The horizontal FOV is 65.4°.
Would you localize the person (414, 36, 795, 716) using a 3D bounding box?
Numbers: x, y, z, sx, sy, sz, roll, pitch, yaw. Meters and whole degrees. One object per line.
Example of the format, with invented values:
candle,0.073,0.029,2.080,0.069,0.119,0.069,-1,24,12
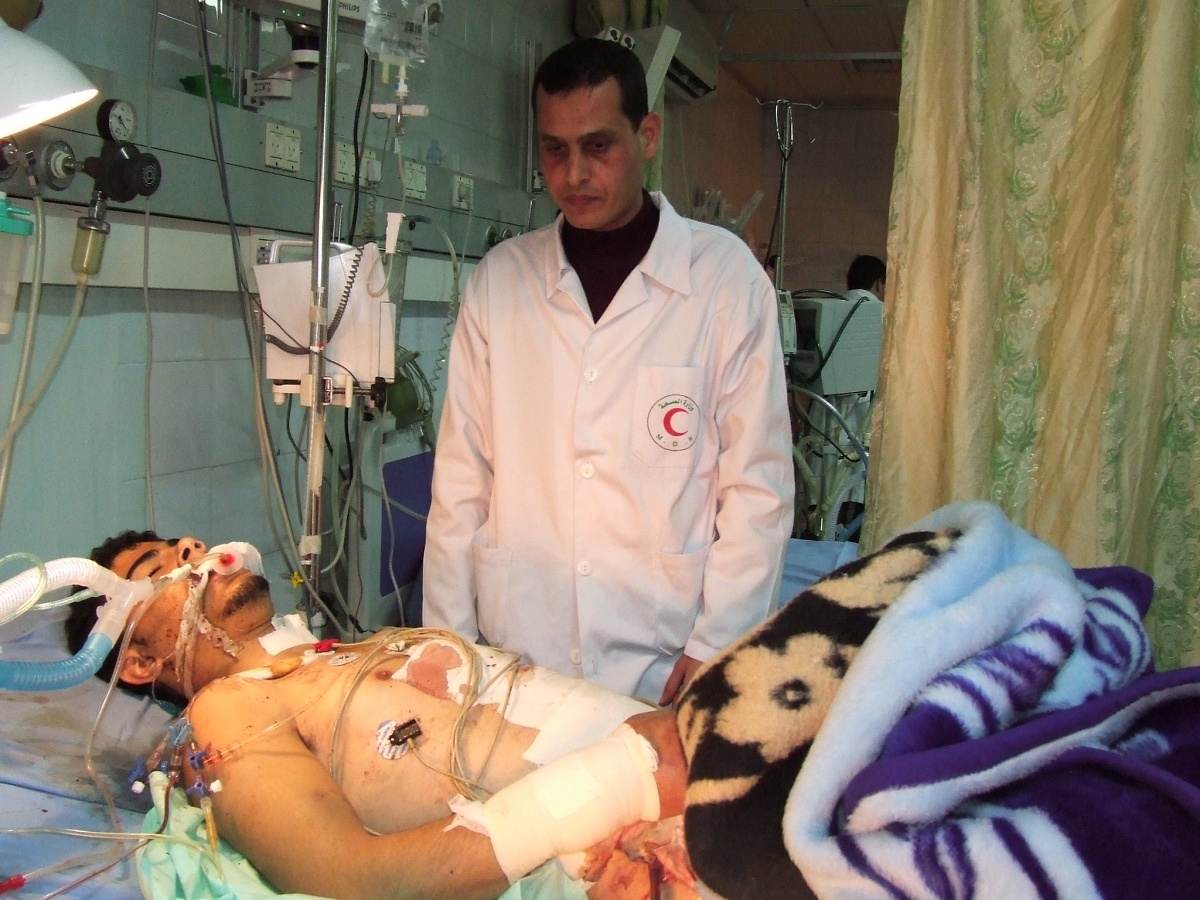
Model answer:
person,-0.017,0.198,2.223,0.725,2.211,0.450,4,23,10
